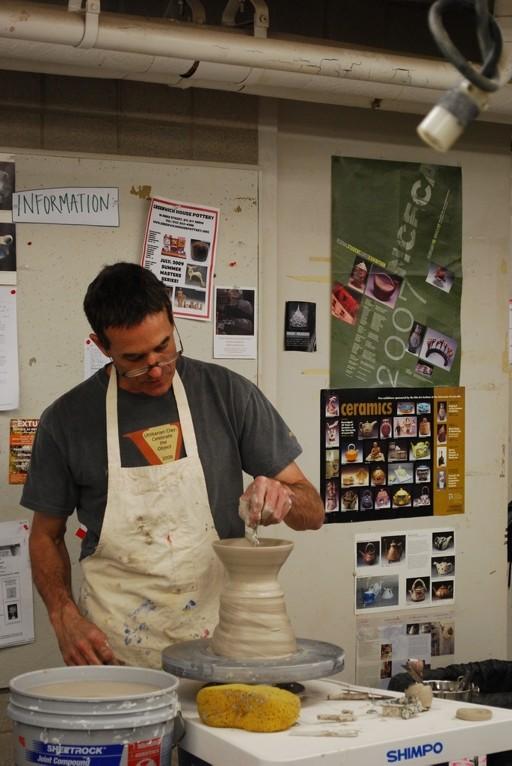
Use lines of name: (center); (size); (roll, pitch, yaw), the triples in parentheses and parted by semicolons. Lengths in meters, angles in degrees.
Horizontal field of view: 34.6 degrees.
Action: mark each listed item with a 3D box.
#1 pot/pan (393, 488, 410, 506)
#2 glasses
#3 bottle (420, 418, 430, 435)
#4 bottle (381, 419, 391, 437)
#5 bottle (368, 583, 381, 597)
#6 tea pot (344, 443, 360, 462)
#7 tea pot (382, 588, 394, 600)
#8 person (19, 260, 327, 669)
pot/pan: (0.641, 0.510, 3.665); (0.061, 0.080, 0.080); (0, -5, 4)
glasses: (-0.276, -0.086, 2.015); (0.132, 0.054, 0.170); (-28, -1, -9)
bottle: (0.761, 0.201, 3.732); (0.057, 0.078, 0.011); (2, -1, -26)
bottle: (0.570, 0.201, 3.639); (0.062, 0.080, 0.012); (2, -1, -35)
bottle: (0.514, 0.904, 3.592); (0.028, 0.034, 0.082); (4, 23, 19)
tea pot: (0.410, 0.290, 3.555); (0.079, 0.077, 0.057); (4, -9, -24)
tea pot: (0.579, 0.925, 3.620); (0.050, 0.047, 0.041); (-8, 1, -34)
person: (-0.235, 0.210, 2.163); (0.741, 1.032, 0.351); (1, -1, -14)
